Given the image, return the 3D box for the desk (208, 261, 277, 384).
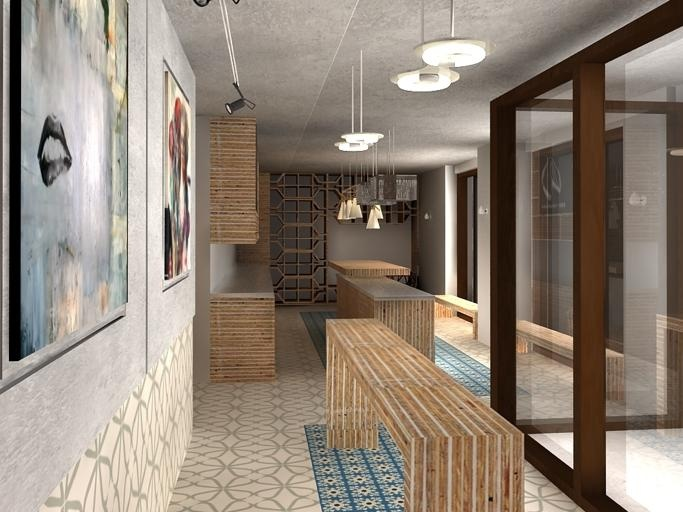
[{"bbox_3d":[-1.499,0.468,7.619,0.738,1.155,4.391,1,13,-10],"label":"desk"}]
